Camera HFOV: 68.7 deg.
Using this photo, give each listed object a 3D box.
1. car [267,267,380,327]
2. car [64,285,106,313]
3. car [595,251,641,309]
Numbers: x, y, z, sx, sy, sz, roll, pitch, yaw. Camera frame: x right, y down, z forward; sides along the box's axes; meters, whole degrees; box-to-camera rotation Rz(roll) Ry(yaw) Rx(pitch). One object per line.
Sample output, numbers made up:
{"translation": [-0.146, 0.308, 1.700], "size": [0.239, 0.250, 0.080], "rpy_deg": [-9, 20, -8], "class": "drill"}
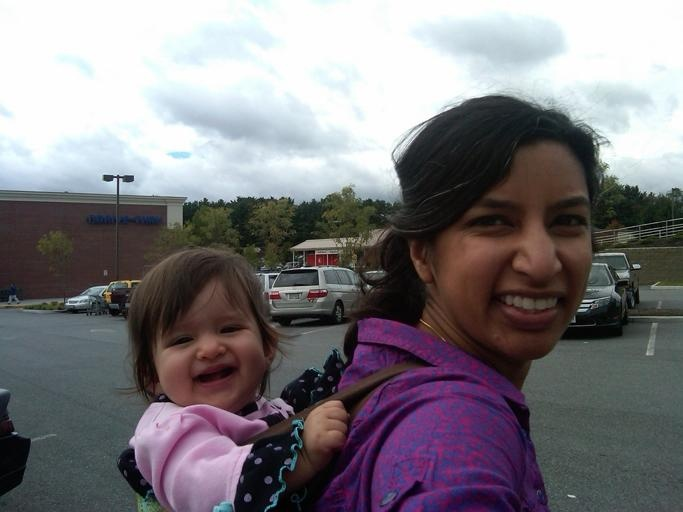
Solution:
{"translation": [-0.469, 1.147, 15.913], "size": [1.442, 1.244, 3.308], "rpy_deg": [-2, 2, 26], "class": "car"}
{"translation": [-14.035, 2.472, 28.483], "size": [1.758, 1.186, 3.265], "rpy_deg": [-2, -3, 19], "class": "car"}
{"translation": [7.138, 0.632, 12.933], "size": [1.439, 1.200, 2.667], "rpy_deg": [-2, -6, 26], "class": "car"}
